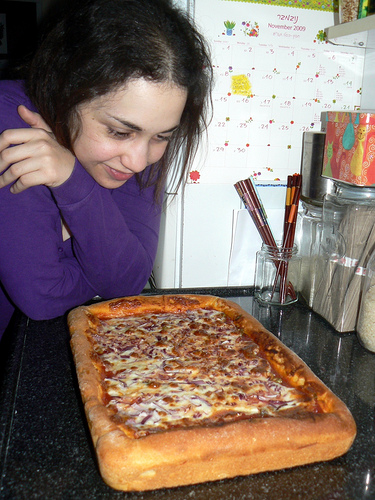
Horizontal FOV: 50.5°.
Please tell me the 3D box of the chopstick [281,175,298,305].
[{"bbox_3d":[0.285,-0.014,1.184,0.029,0.414,0.030,9,6,22],"label":"chopstick"}]
